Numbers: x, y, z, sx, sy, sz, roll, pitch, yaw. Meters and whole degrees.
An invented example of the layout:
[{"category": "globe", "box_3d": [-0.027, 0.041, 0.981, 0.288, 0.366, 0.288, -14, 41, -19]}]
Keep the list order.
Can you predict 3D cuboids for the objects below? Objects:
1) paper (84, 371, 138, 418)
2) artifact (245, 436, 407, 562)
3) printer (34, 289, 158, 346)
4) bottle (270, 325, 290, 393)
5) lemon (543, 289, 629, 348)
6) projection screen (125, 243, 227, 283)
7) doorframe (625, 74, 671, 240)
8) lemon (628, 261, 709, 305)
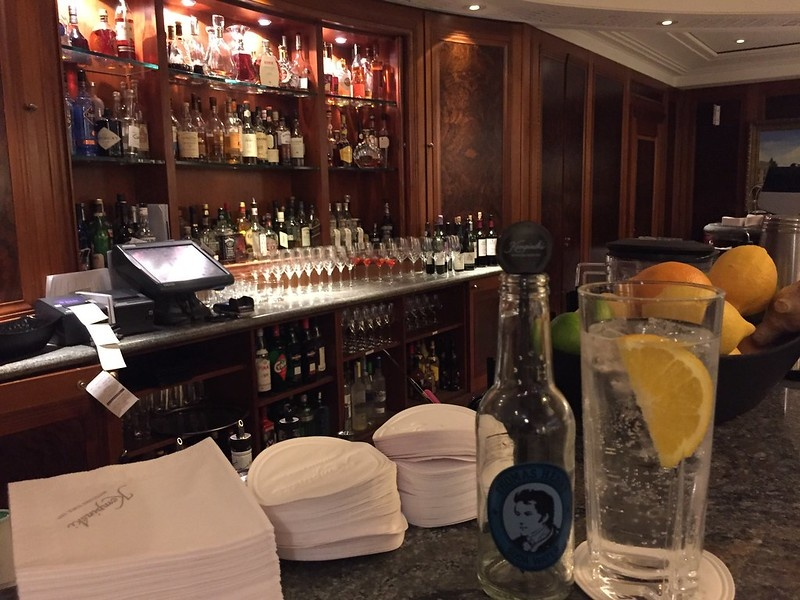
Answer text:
[{"category": "paper", "box_3d": [-0.796, 0.258, 1.762, 0.105, 0.126, 0.129, -8, 14, -17]}, {"category": "artifact", "box_3d": [-0.098, 0.245, 0.850, 0.176, 0.084, 0.148, -2, 13, -17]}, {"category": "printer", "box_3d": [-1.077, 0.036, 2.219, 0.214, 0.152, 0.300, 14, 16, 31]}, {"category": "bottle", "box_3d": [-0.551, 0.250, 2.899, 0.068, 0.305, 0.138, -2, 13, 6]}, {"category": "lemon", "box_3d": [0.263, 0.029, 0.930, 0.083, 0.081, 0.086, 9, 8, 40]}, {"category": "projection screen", "box_3d": [-0.869, -0.146, 2.448, 0.216, 0.153, 0.333, 8, 17, 40]}, {"category": "doorframe", "box_3d": [2.673, -1.545, 6.952, 0.712, 1.272, 0.123, -3, 6, -35]}, {"category": "lemon", "box_3d": [0.341, -0.022, 0.805, 0.087, 0.061, 0.109, -4, 1, 13]}]
